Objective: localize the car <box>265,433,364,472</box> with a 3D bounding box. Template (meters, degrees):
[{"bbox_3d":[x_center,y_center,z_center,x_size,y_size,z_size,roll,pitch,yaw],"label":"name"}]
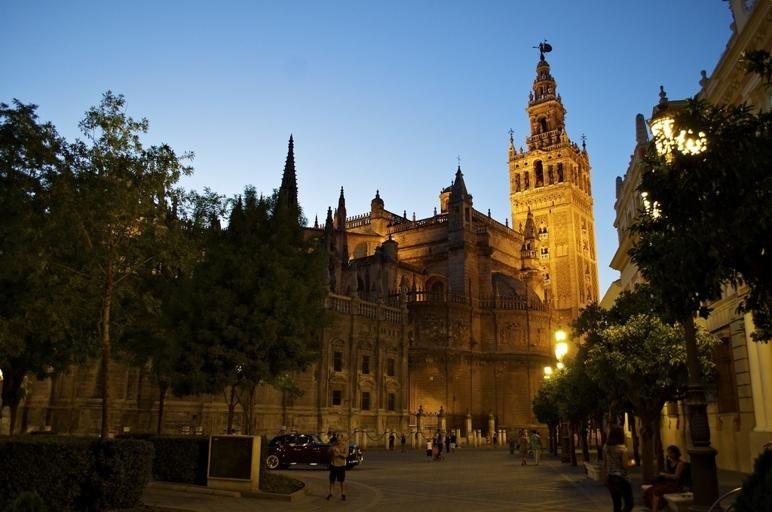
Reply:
[{"bbox_3d":[-3.429,9.055,33.577,4.943,1.665,2.071,0,-10,0],"label":"car"}]

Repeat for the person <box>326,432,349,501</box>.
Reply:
[{"bbox_3d":[-1.574,6.843,24.291,0.588,2.102,1.292,2,-19,-4],"label":"person"}]
